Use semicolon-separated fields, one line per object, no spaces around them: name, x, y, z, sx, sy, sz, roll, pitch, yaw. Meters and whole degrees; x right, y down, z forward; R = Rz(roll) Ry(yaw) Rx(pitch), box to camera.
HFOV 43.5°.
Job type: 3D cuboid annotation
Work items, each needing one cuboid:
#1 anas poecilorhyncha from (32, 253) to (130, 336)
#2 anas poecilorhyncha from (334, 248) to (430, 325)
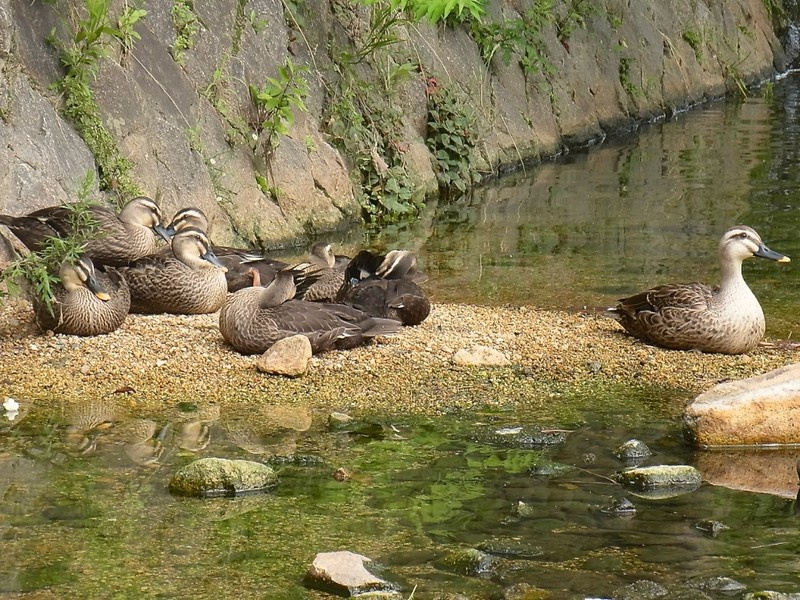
anas poecilorhyncha;-2.548;-0.043;8.203;0.767;0.650;0.412;-8;16;-43
anas poecilorhyncha;-0.140;-0.133;8.873;0.668;0.489;0.858;-2;-8;8
